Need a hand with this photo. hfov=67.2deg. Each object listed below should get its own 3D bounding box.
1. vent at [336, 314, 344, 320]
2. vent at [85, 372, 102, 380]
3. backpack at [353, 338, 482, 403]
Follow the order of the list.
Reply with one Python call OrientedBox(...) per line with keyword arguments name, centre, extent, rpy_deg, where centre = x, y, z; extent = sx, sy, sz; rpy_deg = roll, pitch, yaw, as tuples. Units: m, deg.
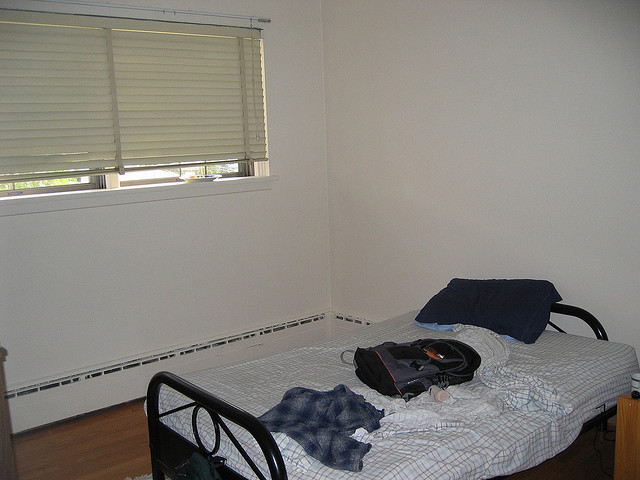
OrientedBox(name="vent", centre=(0.187, 0.720, 4.490), extent=(0.041, 0.049, 0.075), rpy_deg=(-7, 10, -44))
OrientedBox(name="vent", centre=(-1.587, 0.956, 3.383), extent=(0.111, 0.032, 0.006), rpy_deg=(-10, 13, -32))
OrientedBox(name="backpack", centre=(0.510, 0.619, 2.459), extent=(0.386, 0.118, 0.303), rpy_deg=(-7, 11, -29))
